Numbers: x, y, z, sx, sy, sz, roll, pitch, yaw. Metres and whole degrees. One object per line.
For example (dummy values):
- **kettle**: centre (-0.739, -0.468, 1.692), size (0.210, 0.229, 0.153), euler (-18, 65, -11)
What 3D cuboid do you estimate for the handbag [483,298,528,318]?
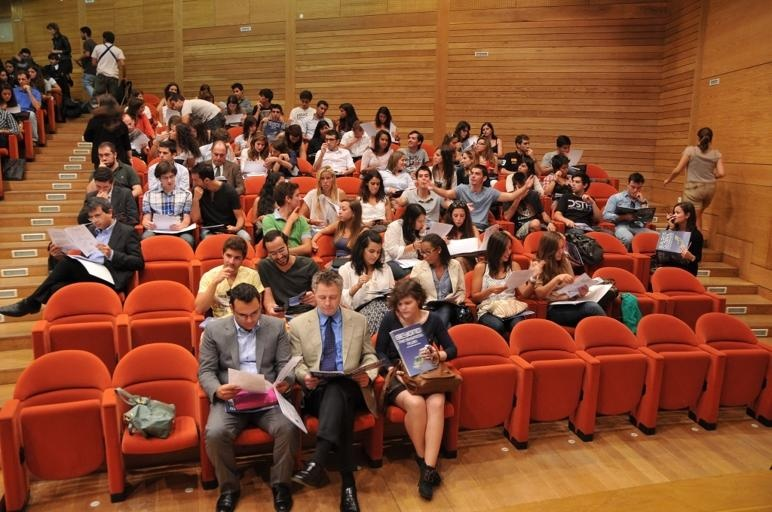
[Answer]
- **handbag**: centre (1.230, 0.510, 5.614), size (0.279, 0.085, 0.208), euler (-9, 18, -23)

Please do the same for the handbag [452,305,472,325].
- **handbag**: centre (0.732, 0.577, 5.496), size (0.186, 0.169, 0.094), euler (-1, -9, -19)

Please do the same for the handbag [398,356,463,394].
- **handbag**: centre (0.382, 0.946, 4.524), size (0.302, 0.117, 0.296), euler (-6, 11, -18)

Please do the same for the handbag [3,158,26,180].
- **handbag**: centre (-5.403, -1.263, 8.154), size (0.344, 0.348, 0.097), euler (-5, -18, -34)

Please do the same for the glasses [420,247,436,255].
- **glasses**: centre (0.431, -0.057, 5.653), size (0.095, 0.031, 0.092), euler (-7, 48, 20)

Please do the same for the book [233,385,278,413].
- **book**: centre (-1.010, 1.100, 4.302), size (0.237, 0.081, 0.225), euler (-2, 0, -10)

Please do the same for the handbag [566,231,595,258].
- **handbag**: centre (2.260, -0.136, 6.608), size (0.374, 0.240, 0.323), euler (14, 19, 39)

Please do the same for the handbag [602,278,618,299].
- **handbag**: centre (2.354, 0.344, 5.991), size (0.229, 0.216, 0.159), euler (-2, 3, 7)

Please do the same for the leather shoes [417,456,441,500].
- **leather shoes**: centre (0.337, 1.730, 4.356), size (0.169, 0.230, 0.189), euler (3, 15, 6)

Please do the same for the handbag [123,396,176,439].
- **handbag**: centre (-1.790, 1.226, 4.276), size (0.320, 0.142, 0.303), euler (15, 50, -6)
